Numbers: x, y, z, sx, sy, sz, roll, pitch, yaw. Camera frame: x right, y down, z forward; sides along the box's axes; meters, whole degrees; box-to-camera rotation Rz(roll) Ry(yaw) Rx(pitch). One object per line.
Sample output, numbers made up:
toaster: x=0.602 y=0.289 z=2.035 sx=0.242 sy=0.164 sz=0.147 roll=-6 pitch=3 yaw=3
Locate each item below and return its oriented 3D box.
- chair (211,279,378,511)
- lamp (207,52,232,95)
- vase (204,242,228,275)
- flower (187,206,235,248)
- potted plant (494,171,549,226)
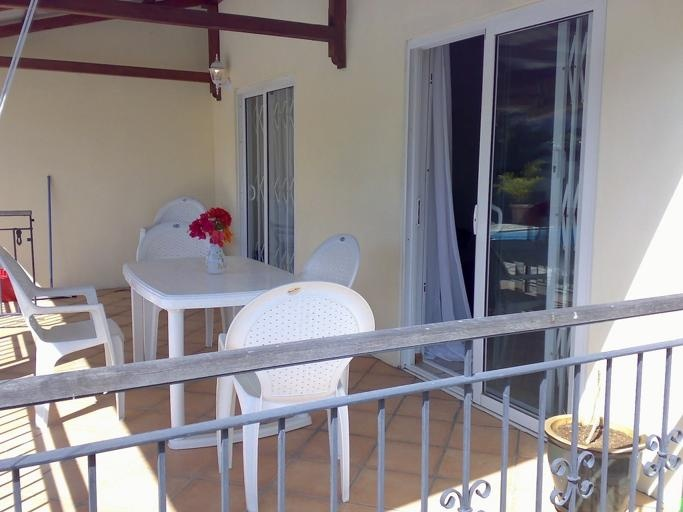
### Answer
chair: x=-0.234 y=0.680 z=2.895 sx=0.742 sy=1.148 sz=0.622 roll=1 pitch=4 yaw=-10
lamp: x=-1.548 y=-2.176 z=7.139 sx=0.295 sy=0.474 sz=0.152 roll=1 pitch=23 yaw=-11
vase: x=-0.831 y=0.009 z=3.920 sx=0.161 sy=0.253 sz=0.162 roll=9 pitch=13 yaw=35
flower: x=-0.829 y=-0.188 z=3.857 sx=0.253 sy=0.253 sz=0.169 roll=3 pitch=4 yaw=12
potted plant: x=1.079 y=-0.363 z=3.758 sx=0.354 sy=0.381 sz=0.271 roll=-1 pitch=3 yaw=0
